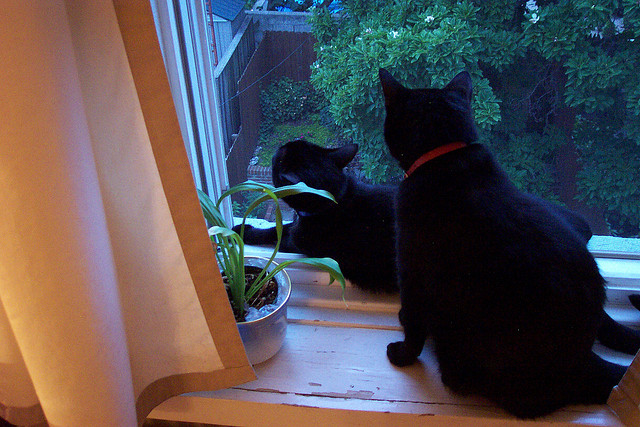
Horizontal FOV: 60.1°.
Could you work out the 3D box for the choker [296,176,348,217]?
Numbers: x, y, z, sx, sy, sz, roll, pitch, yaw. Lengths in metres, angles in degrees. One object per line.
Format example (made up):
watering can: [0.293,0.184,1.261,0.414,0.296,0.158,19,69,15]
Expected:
choker: [0.007,-0.049,1.483,0.203,0.039,0.037,-18,19,9]

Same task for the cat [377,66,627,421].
cat: [0.411,0.061,1.316,0.601,0.803,0.264,5,19,29]

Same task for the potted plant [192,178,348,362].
potted plant: [-0.186,0.211,1.392,0.403,0.449,0.286,-3,10,15]

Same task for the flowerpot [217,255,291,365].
flowerpot: [-0.124,0.286,1.385,0.212,0.233,0.245,-7,48,-2]
